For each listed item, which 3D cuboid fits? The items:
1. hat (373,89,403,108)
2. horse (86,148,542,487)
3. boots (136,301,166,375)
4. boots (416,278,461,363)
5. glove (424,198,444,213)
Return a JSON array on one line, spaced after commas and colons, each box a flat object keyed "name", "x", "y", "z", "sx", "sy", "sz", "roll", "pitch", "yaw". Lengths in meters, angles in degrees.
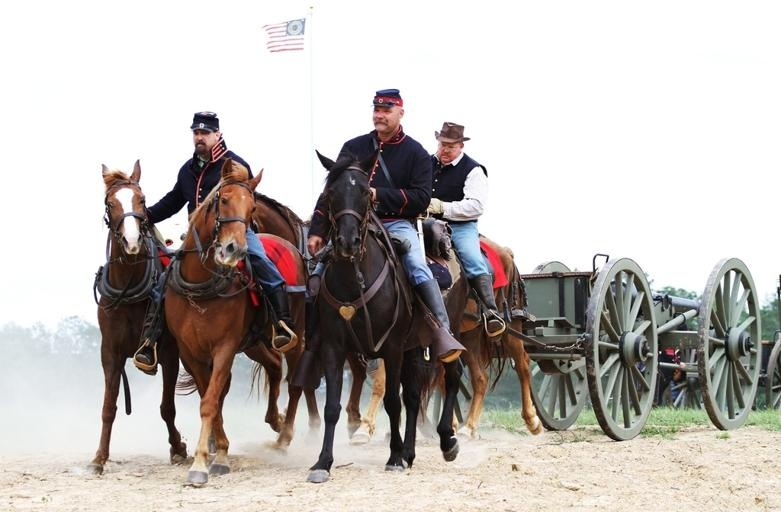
[{"name": "hat", "x": -0.006, "y": -2.042, "z": 13.281, "sx": 0.365, "sy": 0.208, "sz": 0.216, "roll": -1, "pitch": -6, "yaw": -10}, {"name": "horse", "x": -2.006, "y": 0.784, "z": 13.182, "sx": 3.505, "sy": 4.006, "sz": 2.700, "roll": -1, "pitch": -6, "yaw": -17}, {"name": "boots", "x": -3.043, "y": 1.047, "z": 12.998, "sx": 0.290, "sy": 0.988, "sz": 0.332, "roll": 14, "pitch": -9, "yaw": -35}, {"name": "boots", "x": 0.655, "y": 0.801, "z": 12.897, "sx": 0.518, "sy": 1.028, "sz": 0.467, "roll": -5, "pitch": -7, "yaw": 27}, {"name": "glove", "x": 0.661, "y": -0.700, "z": 14.280, "sx": 0.184, "sy": 0.173, "sz": 0.210, "roll": 1, "pitch": 9, "yaw": 0}]
